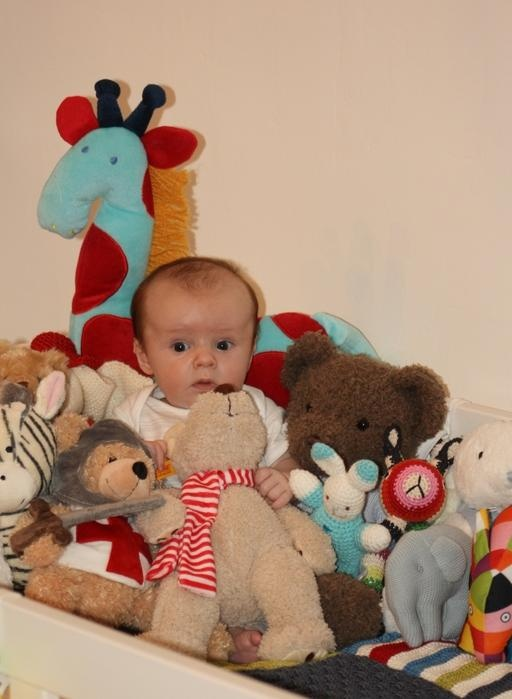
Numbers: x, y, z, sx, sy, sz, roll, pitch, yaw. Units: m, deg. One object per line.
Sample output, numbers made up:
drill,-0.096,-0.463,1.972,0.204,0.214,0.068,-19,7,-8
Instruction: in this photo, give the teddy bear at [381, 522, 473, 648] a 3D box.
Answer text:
teddy bear,0.205,0.280,0.844,0.111,0.094,0.143,-11,-13,36

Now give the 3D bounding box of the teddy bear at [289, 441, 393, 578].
teddy bear,0.115,0.216,0.963,0.070,0.151,0.141,-22,43,-31

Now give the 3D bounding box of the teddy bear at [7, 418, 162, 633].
teddy bear,-0.193,0.220,0.891,0.156,0.239,0.173,4,7,24
